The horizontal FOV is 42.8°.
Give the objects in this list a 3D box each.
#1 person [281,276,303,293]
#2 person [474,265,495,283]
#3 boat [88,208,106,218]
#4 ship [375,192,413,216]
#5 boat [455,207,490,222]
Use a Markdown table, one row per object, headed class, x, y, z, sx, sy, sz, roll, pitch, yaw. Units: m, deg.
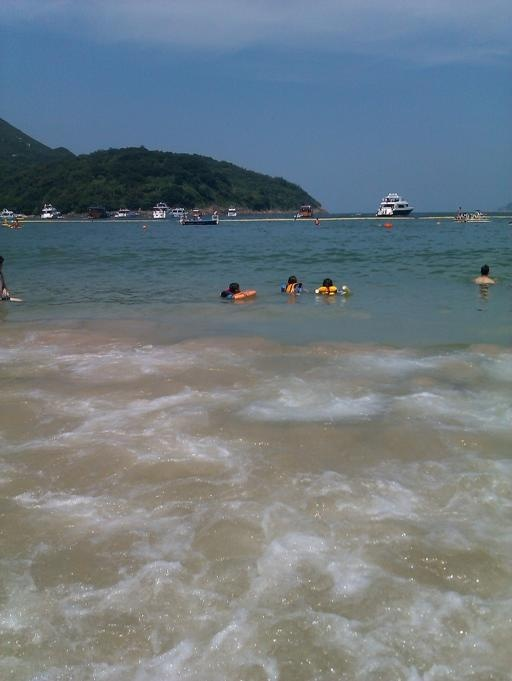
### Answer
| class | x | y | z | sx | sy | sz | roll | pitch | yaw |
| --- | --- | --- | --- | --- | --- | --- | --- | --- | --- |
| person | 0.859 | -1.337 | 15.895 | 0.504 | 0.427 | 0.948 | 0 | 8 | 1 |
| person | 5.701 | -1.655 | 16.477 | 0.460 | 0.467 | 0.977 | 2 | 8 | 14 |
| boat | -38.126 | -30.063 | 154.650 | 3.925 | 2.229 | 3.917 | 6 | 18 | 22 |
| ship | 20.979 | -20.701 | 100.213 | 3.455 | 3.041 | 4.969 | -2 | 8 | -15 |
| boat | 27.274 | -15.723 | 83.278 | 3.306 | 1.573 | 5.871 | 3 | 9 | 23 |
